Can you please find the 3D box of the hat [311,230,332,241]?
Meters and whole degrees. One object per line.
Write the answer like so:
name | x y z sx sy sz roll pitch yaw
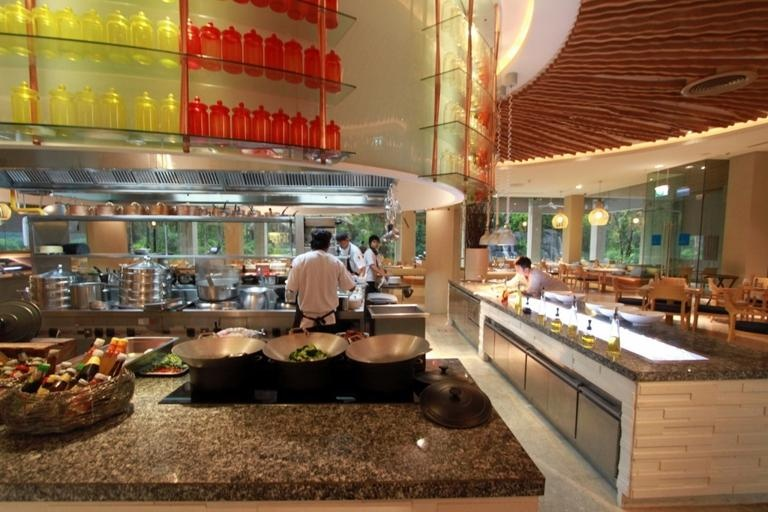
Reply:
hat | -0.683 -0.215 5.778 0.151 0.075 0.141 -2 6 -26

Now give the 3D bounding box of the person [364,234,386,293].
person | -0.154 0.316 8.166 0.401 1.195 0.373 0 15 3

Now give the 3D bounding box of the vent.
vent | -2.137 -0.803 6.487 4.348 0.442 1.201 -1 3 0

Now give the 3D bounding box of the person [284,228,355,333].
person | -0.698 0.293 5.839 0.733 1.124 0.198 -2 4 -3

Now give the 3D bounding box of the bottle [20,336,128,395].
bottle | -2.265 0.846 3.991 0.433 0.305 0.553 5 9 33

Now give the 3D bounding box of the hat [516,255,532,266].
hat | 1.889 0.083 7.240 0.151 0.157 0.169 -1 8 -5

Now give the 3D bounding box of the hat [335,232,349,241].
hat | -0.541 -0.233 6.775 0.116 0.121 0.132 2 13 17

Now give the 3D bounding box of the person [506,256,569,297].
person | 2.065 0.297 7.384 0.931 0.468 0.607 -1 10 -7

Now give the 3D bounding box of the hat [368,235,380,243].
hat | -0.141 -0.236 7.889 0.111 0.114 0.141 -2 -2 -13

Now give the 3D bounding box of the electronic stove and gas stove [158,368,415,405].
electronic stove and gas stove | -0.698 1.045 4.217 1.952 0.201 0.238 -1 4 -2
